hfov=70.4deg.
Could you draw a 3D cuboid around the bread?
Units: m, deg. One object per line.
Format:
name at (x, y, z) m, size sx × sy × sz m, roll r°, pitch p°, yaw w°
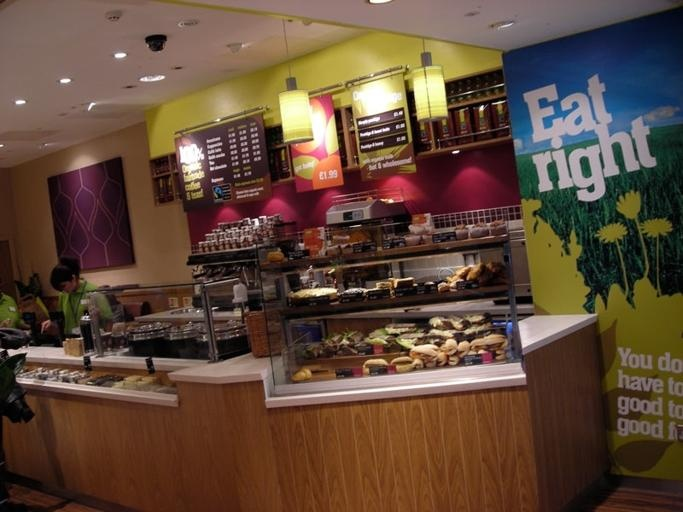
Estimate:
bread at (0.324, 0.178, 2.882) m, size 1.282 × 0.191 × 0.050 m, roll -7°, pitch 2°, yaw 8°
